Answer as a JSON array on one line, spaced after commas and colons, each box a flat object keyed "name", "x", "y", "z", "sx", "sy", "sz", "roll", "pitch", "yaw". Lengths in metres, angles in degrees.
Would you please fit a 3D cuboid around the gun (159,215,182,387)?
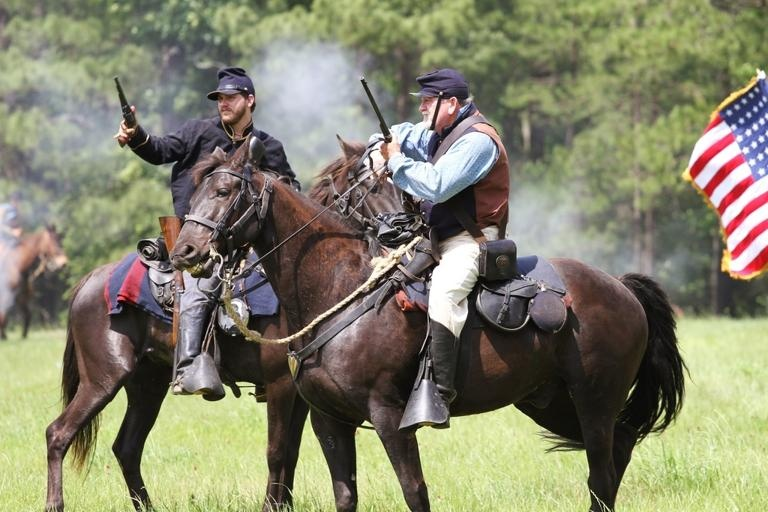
[{"name": "gun", "x": -4.286, "y": 0.884, "z": 27.837, "sx": 0.502, "sy": 3.448, "sz": 0.448, "roll": 1, "pitch": 5, "yaw": 8}]
